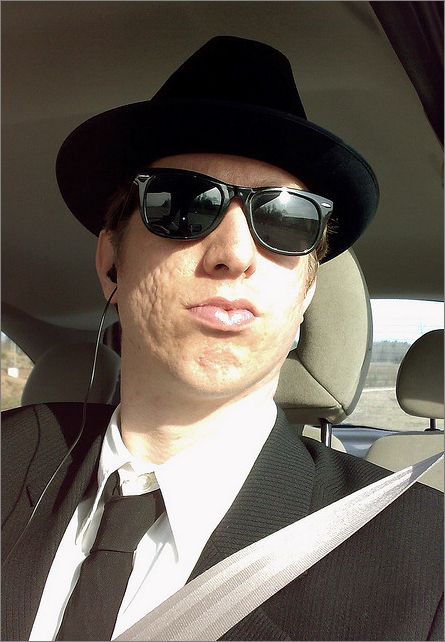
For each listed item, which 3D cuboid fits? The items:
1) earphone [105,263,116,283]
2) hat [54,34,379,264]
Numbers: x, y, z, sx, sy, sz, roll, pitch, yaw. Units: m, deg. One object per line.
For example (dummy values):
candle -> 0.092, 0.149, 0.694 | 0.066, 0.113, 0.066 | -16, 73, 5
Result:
earphone -> -0.281, -0.123, 1.424 | 0.030, 0.037, 0.034 | 12, 33, -6
hat -> -0.043, -0.402, 1.297 | 0.595, 0.526, 0.212 | 1, 71, 29
